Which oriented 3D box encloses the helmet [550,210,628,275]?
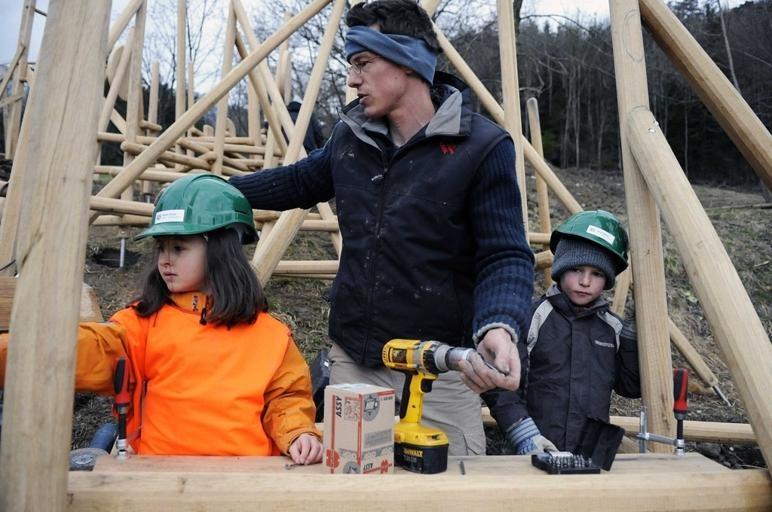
[{"bbox_3d":[1.255,-0.162,4.895,0.551,0.310,0.457,22,-1,3],"label":"helmet"}]

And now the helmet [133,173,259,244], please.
[{"bbox_3d":[-0.888,-0.215,3.769,0.314,0.245,0.436,-4,-10,37],"label":"helmet"}]

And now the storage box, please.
[{"bbox_3d":[-0.122,0.690,3.273,0.254,0.373,0.260,2,-3,-21],"label":"storage box"}]
